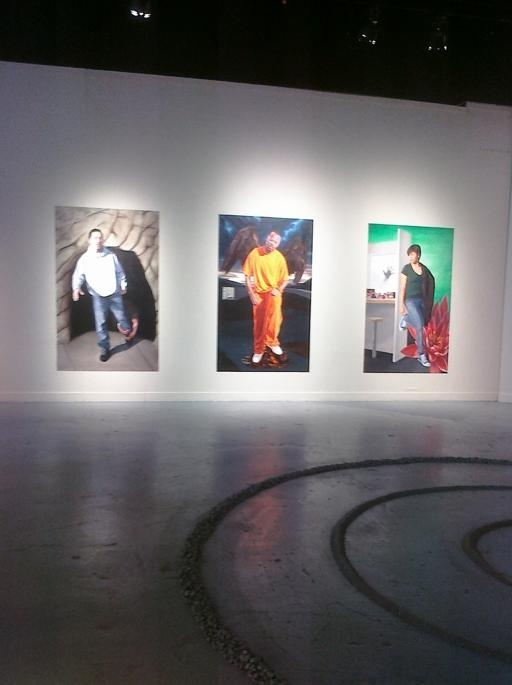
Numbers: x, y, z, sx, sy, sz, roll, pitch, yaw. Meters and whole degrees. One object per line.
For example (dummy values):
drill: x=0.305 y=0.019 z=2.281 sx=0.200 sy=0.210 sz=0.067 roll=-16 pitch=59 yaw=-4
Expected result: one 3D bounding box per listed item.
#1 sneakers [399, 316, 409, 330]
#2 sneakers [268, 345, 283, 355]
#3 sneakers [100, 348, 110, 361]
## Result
sneakers: x=1.941 y=-0.256 z=7.252 sx=0.075 sy=0.203 sz=0.087 roll=5 pitch=10 yaw=2
sneakers: x=0.254 y=0.082 z=6.888 sx=0.172 sy=0.069 sz=0.069 roll=43 pitch=3 yaw=-3
sneakers: x=-1.777 y=0.147 z=6.545 sx=0.063 sy=0.184 sz=0.076 roll=8 pitch=9 yaw=-19
